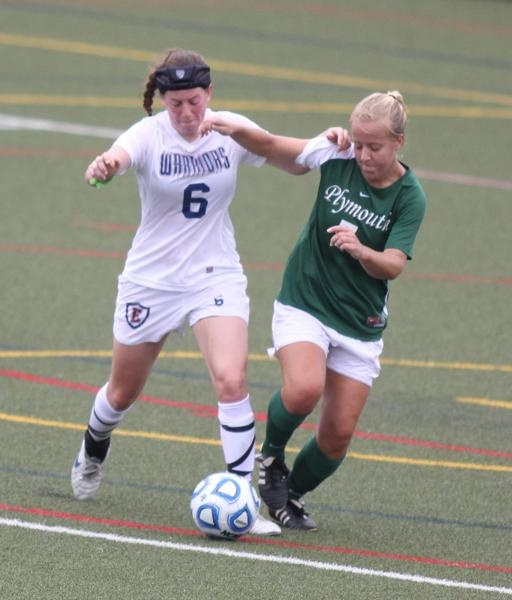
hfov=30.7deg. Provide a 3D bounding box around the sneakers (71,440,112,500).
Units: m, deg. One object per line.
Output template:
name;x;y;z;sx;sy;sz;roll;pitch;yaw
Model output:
sneakers;-0.874;0.905;5.010;0.125;0.339;0.154;12;-13;-32

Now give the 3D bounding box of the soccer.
soccer;-0.228;1.036;4.528;0.349;0.343;0.322;1;-18;0

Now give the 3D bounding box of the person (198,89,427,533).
person;0.358;0.073;4.713;0.734;2.234;0.763;-1;13;-23

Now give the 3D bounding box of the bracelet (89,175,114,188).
bracelet;-0.719;-0.536;4.269;0.126;0.058;0.068;-10;2;-6
